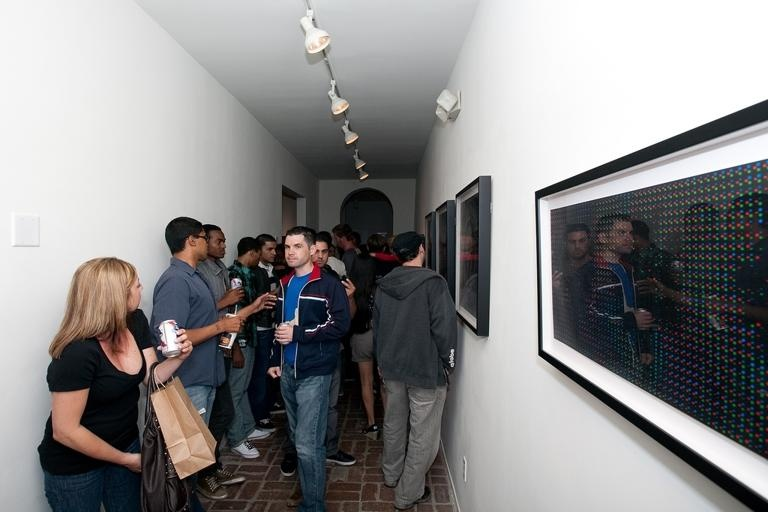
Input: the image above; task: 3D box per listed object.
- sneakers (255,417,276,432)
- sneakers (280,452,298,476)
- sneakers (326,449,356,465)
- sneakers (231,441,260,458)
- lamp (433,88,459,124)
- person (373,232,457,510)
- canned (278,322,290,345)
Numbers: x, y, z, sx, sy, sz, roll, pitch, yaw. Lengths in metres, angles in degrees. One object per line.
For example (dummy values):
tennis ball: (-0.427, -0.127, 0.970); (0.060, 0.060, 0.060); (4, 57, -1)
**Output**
sneakers: (-1.050, 1.515, 4.160); (0.190, 0.077, 0.081); (4, 4, -8)
sneakers: (-0.712, 1.556, 3.476); (0.069, 0.081, 0.197); (4, 5, -3)
sneakers: (-0.325, 1.565, 3.637); (0.235, 0.105, 0.093); (0, -6, 8)
sneakers: (-1.107, 1.542, 3.735); (0.222, 0.106, 0.107); (1, -1, 18)
lamp: (0.517, -1.125, 3.529); (0.089, 0.287, 0.202); (-10, 35, -34)
person: (0.180, 0.870, 3.153); (0.290, 1.335, 0.649); (-1, 0, -44)
canned: (-0.624, 0.479, 2.900); (0.134, 0.117, 0.054); (-1, 0, 29)
